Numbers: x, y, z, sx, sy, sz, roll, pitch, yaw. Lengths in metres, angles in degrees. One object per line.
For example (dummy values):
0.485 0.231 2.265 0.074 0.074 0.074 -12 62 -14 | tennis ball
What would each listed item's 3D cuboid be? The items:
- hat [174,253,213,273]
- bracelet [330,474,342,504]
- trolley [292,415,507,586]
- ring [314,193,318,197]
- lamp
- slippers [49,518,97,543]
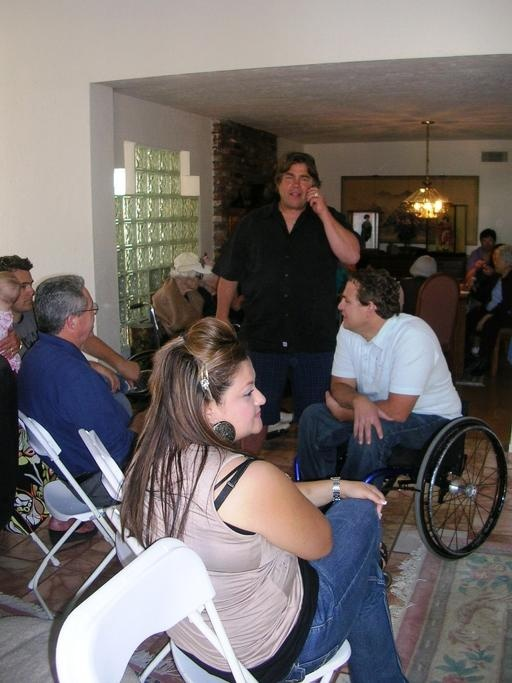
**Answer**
-0.568 -0.659 4.751 0.378 0.163 0.241 -7 19 -22 | hat
0.214 0.378 1.418 0.042 0.053 0.060 0 -33 10 | bracelet
0.663 0.650 2.555 0.895 0.882 0.670 12 -18 -40 | trolley
0.272 -0.657 2.518 0.019 0.021 0.008 4 -6 -12 | ring
2.516 -2.466 8.223 0.601 1.283 1.986 1 7 18 | lamp
-0.811 0.855 2.503 0.177 0.039 0.178 1 2 37 | slippers
